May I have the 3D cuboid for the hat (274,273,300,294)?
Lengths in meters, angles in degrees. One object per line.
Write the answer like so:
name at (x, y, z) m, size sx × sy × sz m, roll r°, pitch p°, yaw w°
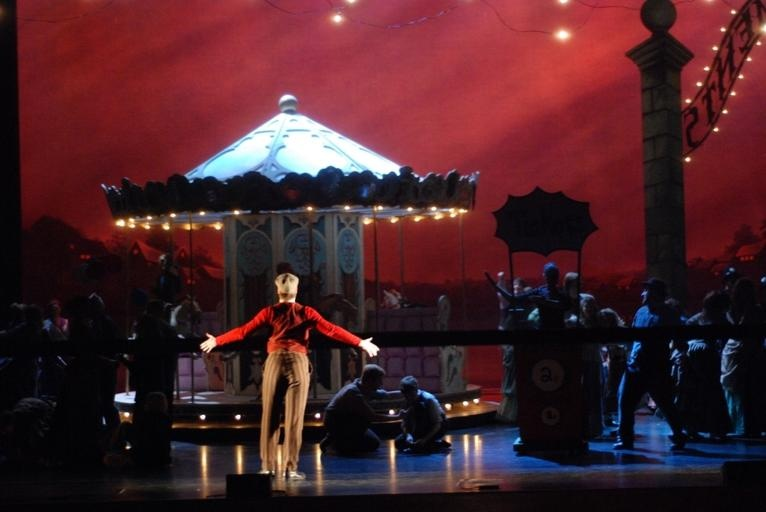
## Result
hat at (-1.298, 0.385, 14.957) m, size 0.266 × 0.195 × 0.331 m, roll 0°, pitch -10°, yaw -5°
